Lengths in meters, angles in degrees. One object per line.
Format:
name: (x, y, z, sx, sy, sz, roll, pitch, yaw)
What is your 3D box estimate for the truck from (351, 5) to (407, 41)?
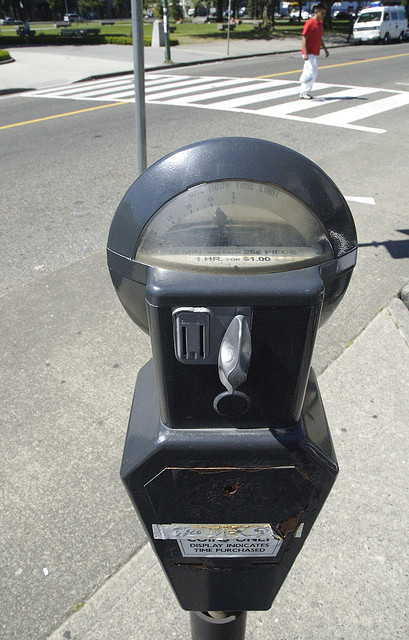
truck: (7.154, -12.079, 21.125, 2.869, 1.225, 1.037, -28, 40, -36)
